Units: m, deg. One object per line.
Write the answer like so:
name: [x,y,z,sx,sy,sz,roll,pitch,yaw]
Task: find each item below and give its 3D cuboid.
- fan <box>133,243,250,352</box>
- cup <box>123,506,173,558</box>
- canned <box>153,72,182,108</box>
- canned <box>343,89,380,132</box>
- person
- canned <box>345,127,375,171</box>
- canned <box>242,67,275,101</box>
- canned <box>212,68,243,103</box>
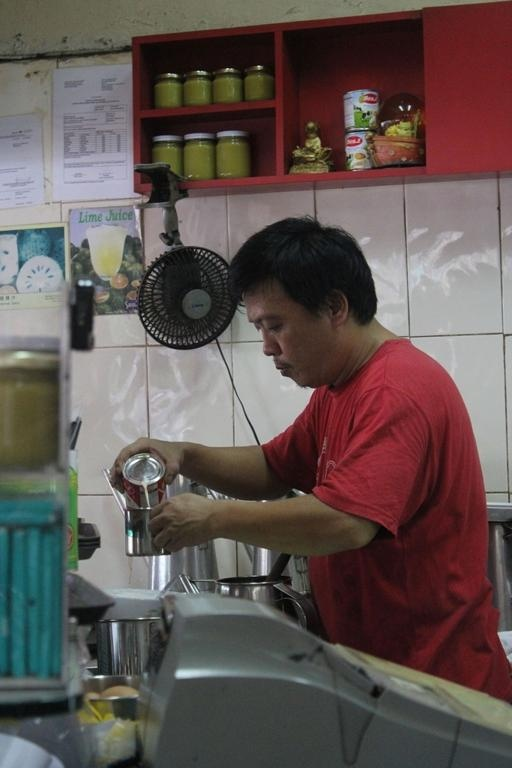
fan: [-0.162,-0.258,2.002,0.410,0.417,0.256,-1,17,-3]
cup: [-0.159,0.206,0.944,0.083,0.079,0.048,0,-1,-13]
canned: [-0.244,-0.812,1.921,0.099,0.098,0.097,0,3,-7]
canned: [0.276,-0.731,1.865,0.112,0.116,0.111,1,-3,-4]
person: [0.157,0.090,1.419,0.763,1.139,0.674,-2,-1,1]
canned: [0.264,-0.621,1.800,0.076,0.114,0.039,3,8,44]
canned: [0.008,-0.818,1.903,0.101,0.090,0.099,1,0,-3]
canned: [-0.072,-0.809,1.888,0.098,0.094,0.095,0,-3,-1]
